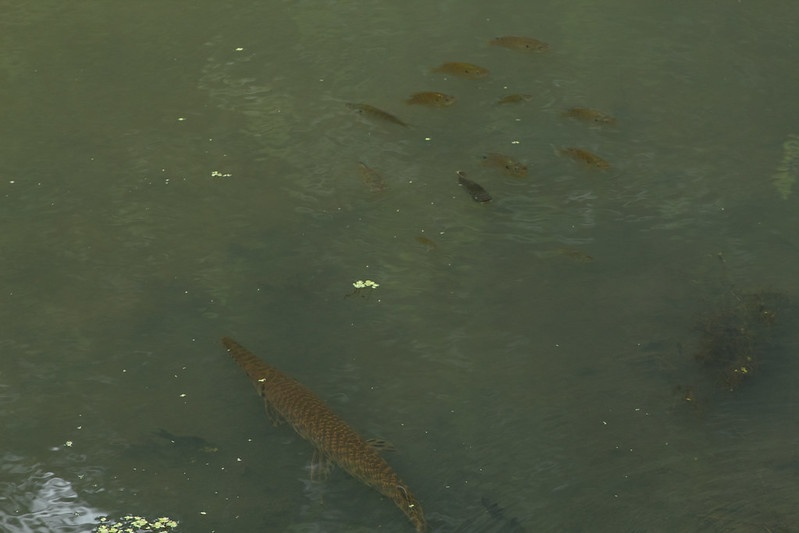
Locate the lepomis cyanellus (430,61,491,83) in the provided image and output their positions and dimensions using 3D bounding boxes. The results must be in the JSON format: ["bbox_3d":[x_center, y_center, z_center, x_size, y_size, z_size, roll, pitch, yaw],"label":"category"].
[{"bbox_3d":[1.298,-4.070,24.140,1.045,0.118,0.410,12,73,6],"label":"lepomis cyanellus"}]

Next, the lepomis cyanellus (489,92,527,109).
[{"bbox_3d":[2.297,-3.399,23.777,0.963,0.180,0.279,-10,37,-11],"label":"lepomis cyanellus"}]

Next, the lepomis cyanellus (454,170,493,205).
[{"bbox_3d":[1.434,-1.478,22.530,0.832,0.153,0.406,34,71,18],"label":"lepomis cyanellus"}]

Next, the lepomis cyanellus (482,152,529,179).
[{"bbox_3d":[2.102,-1.964,22.887,0.861,0.169,0.392,25,60,12],"label":"lepomis cyanellus"}]

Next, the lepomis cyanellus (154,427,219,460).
[{"bbox_3d":[-3.642,3.031,19.697,1.062,0.081,0.380,23,74,10],"label":"lepomis cyanellus"}]
